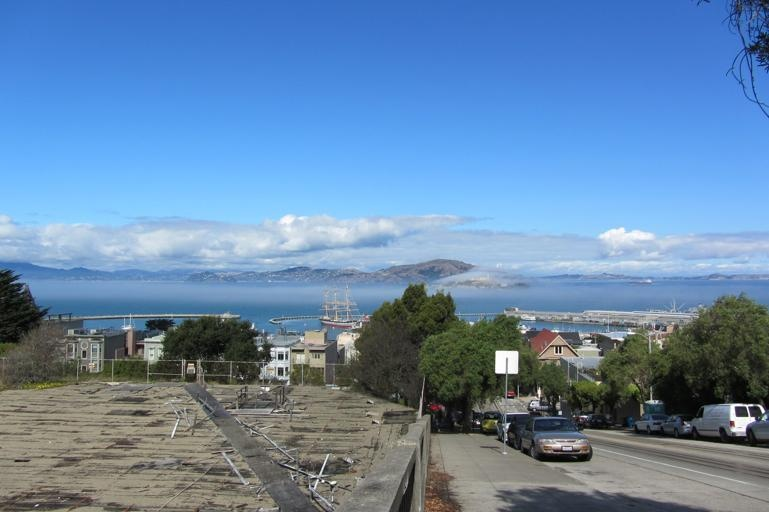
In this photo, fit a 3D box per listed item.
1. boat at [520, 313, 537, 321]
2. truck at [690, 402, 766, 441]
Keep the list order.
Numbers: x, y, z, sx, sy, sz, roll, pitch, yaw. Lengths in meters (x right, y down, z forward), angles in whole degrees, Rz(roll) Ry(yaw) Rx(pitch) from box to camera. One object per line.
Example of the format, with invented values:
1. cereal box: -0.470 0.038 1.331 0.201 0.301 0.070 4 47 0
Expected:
1. boat: 57.085 24.284 263.391 5.835 3.465 28.213 -1 -7 12
2. truck: 17.927 8.661 35.188 1.907 1.288 3.254 2 -6 -13
